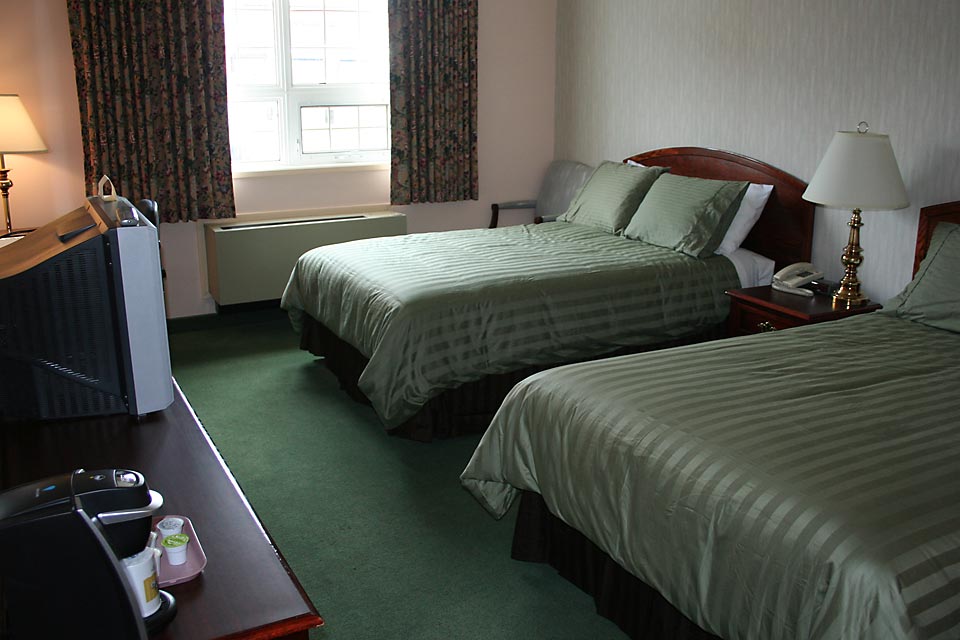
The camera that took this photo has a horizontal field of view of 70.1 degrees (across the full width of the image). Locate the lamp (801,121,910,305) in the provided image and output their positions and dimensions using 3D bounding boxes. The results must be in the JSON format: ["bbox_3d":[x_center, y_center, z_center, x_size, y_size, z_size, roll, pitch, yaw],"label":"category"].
[{"bbox_3d":[2.318,-0.637,4.182,0.595,1.073,0.570,-10,16,-19],"label":"lamp"}]

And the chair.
[{"bbox_3d":[0.584,-1.214,6.531,0.605,0.910,0.556,8,19,-35],"label":"chair"}]

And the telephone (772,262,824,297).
[{"bbox_3d":[2.075,-0.273,4.446,0.242,0.096,0.231,-18,23,-18],"label":"telephone"}]

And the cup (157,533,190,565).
[{"bbox_3d":[-0.726,0.541,1.615,0.062,0.047,0.060,-1,7,0],"label":"cup"}]
